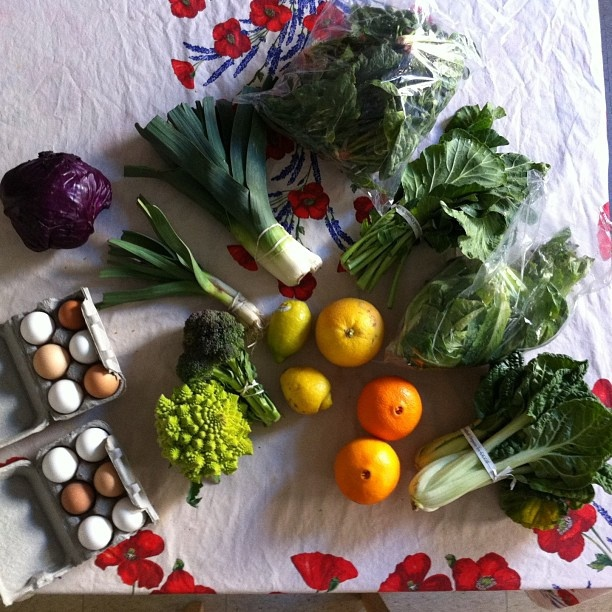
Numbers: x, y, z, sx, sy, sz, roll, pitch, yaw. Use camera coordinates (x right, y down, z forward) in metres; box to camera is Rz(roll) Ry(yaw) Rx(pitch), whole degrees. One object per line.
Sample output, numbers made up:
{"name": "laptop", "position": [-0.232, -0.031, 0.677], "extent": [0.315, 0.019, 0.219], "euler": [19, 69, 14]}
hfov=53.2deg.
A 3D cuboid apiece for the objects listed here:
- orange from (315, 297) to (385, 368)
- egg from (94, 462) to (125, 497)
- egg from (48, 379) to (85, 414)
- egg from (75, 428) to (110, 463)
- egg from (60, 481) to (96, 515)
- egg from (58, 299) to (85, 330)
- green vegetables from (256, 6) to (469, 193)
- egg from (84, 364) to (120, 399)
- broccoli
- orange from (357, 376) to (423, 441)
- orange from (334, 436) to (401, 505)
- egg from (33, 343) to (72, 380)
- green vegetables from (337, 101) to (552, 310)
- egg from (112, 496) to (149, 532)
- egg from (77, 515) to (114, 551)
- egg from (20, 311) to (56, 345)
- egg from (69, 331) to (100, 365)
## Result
{"name": "orange", "position": [0.084, 0.048, 1.218], "extent": [0.135, 0.126, 0.123], "euler": [-18, 90, -3]}
{"name": "egg", "position": [-0.373, 0.344, 1.213], "extent": [0.066, 0.064, 0.072], "euler": [-7, 79, 23]}
{"name": "egg", "position": [-0.462, 0.172, 1.181], "extent": [0.068, 0.066, 0.075], "euler": [-1, 87, 14]}
{"name": "egg", "position": [-0.416, 0.270, 1.184], "extent": [0.060, 0.040, 0.069], "euler": [5, 77, -2]}
{"name": "egg", "position": [-0.442, 0.374, 1.181], "extent": [0.064, 0.031, 0.067], "euler": [-20, 79, -7]}
{"name": "egg", "position": [-0.458, 0.016, 1.194], "extent": [0.058, 0.056, 0.064], "euler": [-3, 94, 11]}
{"name": "green vegetables", "position": [0.103, -0.410, 1.212], "extent": [0.341, 0.152, 0.359], "euler": [35, 102, -4]}
{"name": "egg", "position": [-0.390, 0.141, 1.196], "extent": [0.070, 0.065, 0.075], "euler": [7, 91, -3]}
{"name": "broccoli", "position": [-0.166, 0.131, 1.177], "extent": [0.146, 0.124, 0.246], "euler": [-22, 80, -8]}
{"name": "orange", "position": [0.155, 0.195, 1.205], "extent": [0.129, 0.115, 0.116], "euler": [-12, 36, 3]}
{"name": "orange", "position": [0.117, 0.316, 1.211], "extent": [0.132, 0.118, 0.123], "euler": [-6, 37, 9]}
{"name": "egg", "position": [-0.493, 0.107, 1.185], "extent": [0.072, 0.070, 0.077], "euler": [-1, 88, 5]}
{"name": "green vegetables", "position": [0.256, -0.180, 1.174], "extent": [0.295, 0.189, 0.317], "euler": [-32, 74, -29]}
{"name": "egg", "position": [-0.340, 0.400, 1.164], "extent": [0.061, 0.042, 0.066], "euler": [-27, 81, -9]}
{"name": "egg", "position": [-0.398, 0.431, 1.158], "extent": [0.068, 0.036, 0.063], "euler": [-1, 87, -3]}
{"name": "egg", "position": [-0.523, 0.043, 1.186], "extent": [0.066, 0.064, 0.072], "euler": [-1, 91, 17]}
{"name": "egg", "position": [-0.430, 0.080, 1.187], "extent": [0.064, 0.062, 0.070], "euler": [-7, 86, 18]}
